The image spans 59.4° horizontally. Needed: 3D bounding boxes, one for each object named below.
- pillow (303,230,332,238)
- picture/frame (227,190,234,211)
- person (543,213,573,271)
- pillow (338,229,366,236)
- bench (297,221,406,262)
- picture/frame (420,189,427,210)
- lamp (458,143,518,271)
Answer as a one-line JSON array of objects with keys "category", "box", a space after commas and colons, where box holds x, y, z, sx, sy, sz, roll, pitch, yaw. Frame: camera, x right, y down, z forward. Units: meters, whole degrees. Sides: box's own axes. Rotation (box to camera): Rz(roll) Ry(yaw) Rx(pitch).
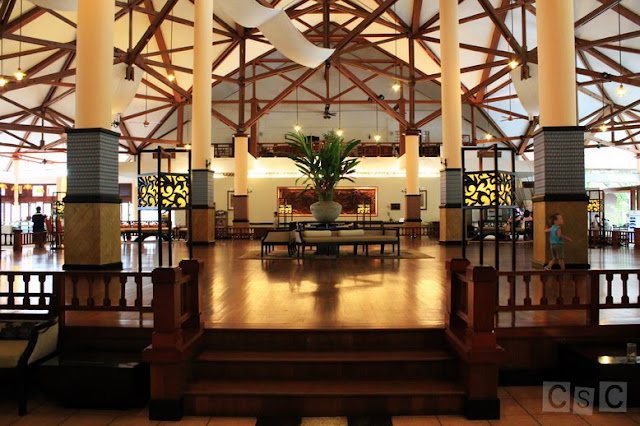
[{"category": "pillow", "box": [-0.081, 0.499, 13.387, 0.620, 0.162, 0.083, -3, 0, -5]}, {"category": "picture/frame", "box": [-3.955, -0.565, 24.549, 0.257, 0.814, 0.146, -3, 0, -4]}, {"category": "person", "box": [4.581, 0.573, 11.120, 0.696, 1.403, 0.509, 0, 0, -3]}, {"category": "pillow", "box": [0.749, 0.483, 13.651, 0.615, 0.138, 0.088, -3, 0, -9]}, {"category": "bench", "box": [0.656, 0.621, 13.662, 2.444, 0.736, 0.718, 0, 0, -19]}, {"category": "picture/frame", "box": [4.501, -0.565, 24.407, 0.302, 0.874, 0.142, -3, 0, 7]}, {"category": "lamp", "box": [3.821, -0.002, 12.885, 1.096, 3.868, 0.933, -2, 1, 9]}]
